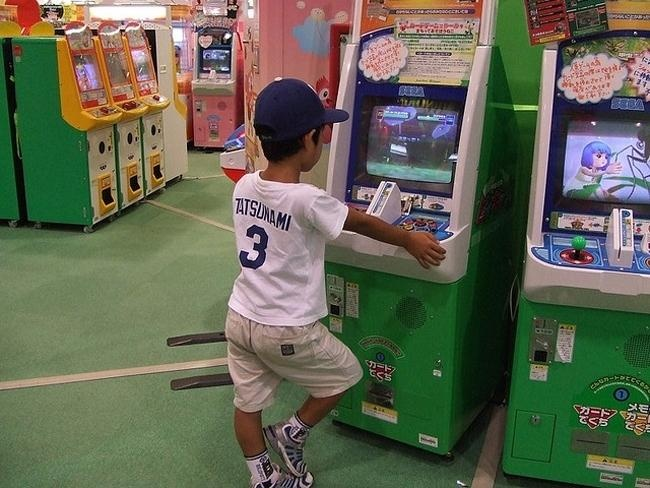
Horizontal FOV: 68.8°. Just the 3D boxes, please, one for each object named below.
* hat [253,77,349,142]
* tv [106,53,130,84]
[{"bbox_3d":[-0.099,-0.565,1.973,0.319,0.167,0.219,-22,32,-21],"label":"hat"},{"bbox_3d":[-2.710,-2.302,6.259,0.080,0.329,0.309,2,12,28],"label":"tv"}]
